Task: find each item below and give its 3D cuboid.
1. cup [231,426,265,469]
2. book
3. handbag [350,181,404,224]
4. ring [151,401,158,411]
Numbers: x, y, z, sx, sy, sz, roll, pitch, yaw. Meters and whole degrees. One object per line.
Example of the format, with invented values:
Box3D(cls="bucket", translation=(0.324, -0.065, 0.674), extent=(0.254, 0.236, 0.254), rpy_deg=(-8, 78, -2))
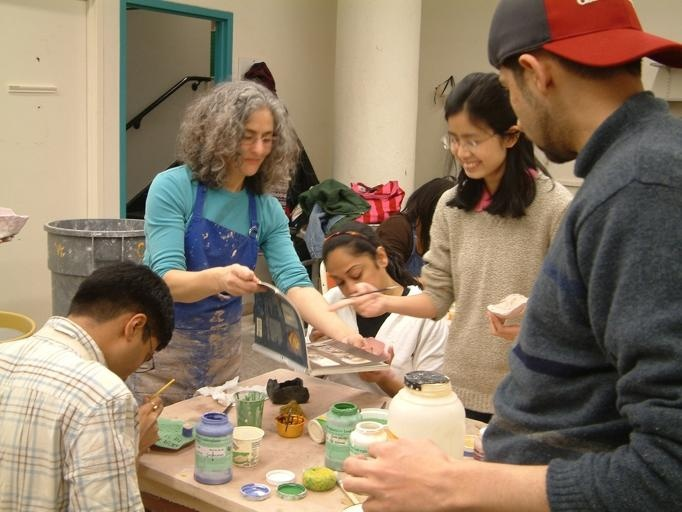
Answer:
Box3D(cls="cup", translation=(-0.286, 0.581, 1.694), extent=(0.108, 0.080, 0.108), rpy_deg=(2, 6, 0))
Box3D(cls="book", translation=(-0.084, 0.155, 2.027), extent=(0.394, 0.294, 0.505), rpy_deg=(-2, 7, -31))
Box3D(cls="handbag", translation=(0.380, -0.532, 5.185), extent=(0.477, 0.192, 0.448), rpy_deg=(-4, 15, -6))
Box3D(cls="ring", translation=(-0.596, 0.479, 1.760), extent=(0.021, 0.019, 0.020), rpy_deg=(1, -6, 0))
